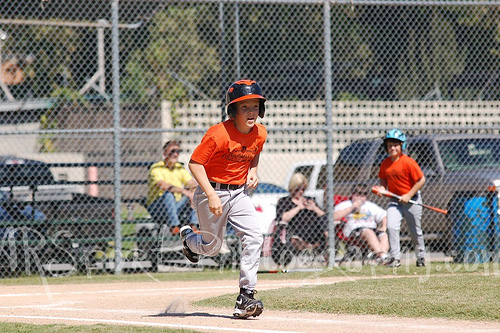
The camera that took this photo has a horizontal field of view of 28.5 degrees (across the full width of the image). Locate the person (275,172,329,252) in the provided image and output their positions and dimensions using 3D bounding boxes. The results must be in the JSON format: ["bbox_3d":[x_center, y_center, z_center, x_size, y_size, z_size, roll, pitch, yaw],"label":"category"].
[{"bbox_3d":[0.999,0.891,18.693,0.957,1.474,0.444,-1,-7,1],"label":"person"}]

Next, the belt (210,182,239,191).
[{"bbox_3d":[-0.365,0.309,14.880,0.416,0.131,0.065,1,-7,-12],"label":"belt"}]

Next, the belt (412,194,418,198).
[{"bbox_3d":[3.025,0.549,17.940,0.062,0.017,0.045,-36,-28,17],"label":"belt"}]

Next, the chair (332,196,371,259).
[{"bbox_3d":[1.913,1.215,18.774,0.790,1.124,0.428,-25,-8,19],"label":"chair"}]

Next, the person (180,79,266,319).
[{"bbox_3d":[-0.297,0.523,14.971,1.152,3.575,0.856,-1,-7,0],"label":"person"}]

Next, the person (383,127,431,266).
[{"bbox_3d":[2.853,0.647,18.144,1.176,2.482,0.853,-1,-2,-38],"label":"person"}]

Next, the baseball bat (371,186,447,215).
[{"bbox_3d":[3.054,0.641,18.327,1.060,0.148,0.138,22,-24,-11],"label":"baseball bat"}]
